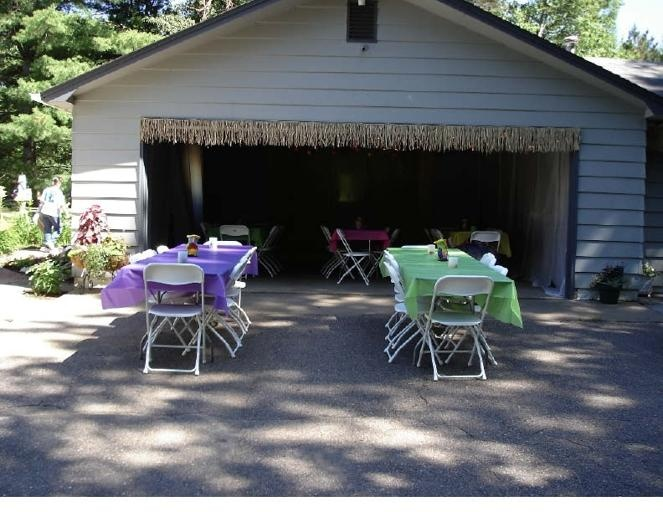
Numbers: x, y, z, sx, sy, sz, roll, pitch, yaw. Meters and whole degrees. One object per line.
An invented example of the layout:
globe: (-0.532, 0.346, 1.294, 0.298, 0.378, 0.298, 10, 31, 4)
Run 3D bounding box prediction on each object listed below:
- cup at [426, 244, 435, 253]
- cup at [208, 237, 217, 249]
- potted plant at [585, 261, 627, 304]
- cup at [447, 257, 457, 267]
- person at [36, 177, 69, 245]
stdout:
cup: (1.222, -0.096, 6.917, 0.096, 0.110, 0.098, 3, 4, 0)
cup: (-1.425, -0.163, 6.997, 0.134, 0.152, 0.133, 0, 4, 0)
potted plant: (4.141, 0.414, 8.416, 0.599, 0.652, 0.435, 2, 0, 4)
cup: (1.260, 0.061, 5.870, 0.104, 0.103, 0.092, 2, 0, 0)
person: (-5.792, -0.880, 11.824, 0.548, 1.555, 1.718, -2, 11, -27)
